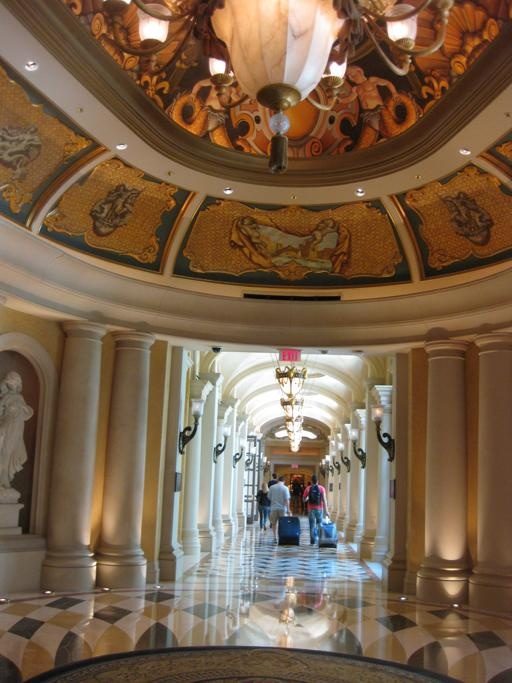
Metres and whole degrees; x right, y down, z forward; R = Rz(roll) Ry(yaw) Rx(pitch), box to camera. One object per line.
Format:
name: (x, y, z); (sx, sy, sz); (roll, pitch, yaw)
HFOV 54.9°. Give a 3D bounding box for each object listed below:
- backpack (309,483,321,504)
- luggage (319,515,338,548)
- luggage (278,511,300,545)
backpack: (1.625, 4.272, 13.696); (0.337, 0.580, 0.451); (-1, -16, 6)
luggage: (1.974, 5.342, 13.545); (0.460, 0.595, 0.649); (-3, -16, 13)
luggage: (0.930, 5.294, 13.872); (0.804, 0.640, 1.184); (0, 13, 4)
